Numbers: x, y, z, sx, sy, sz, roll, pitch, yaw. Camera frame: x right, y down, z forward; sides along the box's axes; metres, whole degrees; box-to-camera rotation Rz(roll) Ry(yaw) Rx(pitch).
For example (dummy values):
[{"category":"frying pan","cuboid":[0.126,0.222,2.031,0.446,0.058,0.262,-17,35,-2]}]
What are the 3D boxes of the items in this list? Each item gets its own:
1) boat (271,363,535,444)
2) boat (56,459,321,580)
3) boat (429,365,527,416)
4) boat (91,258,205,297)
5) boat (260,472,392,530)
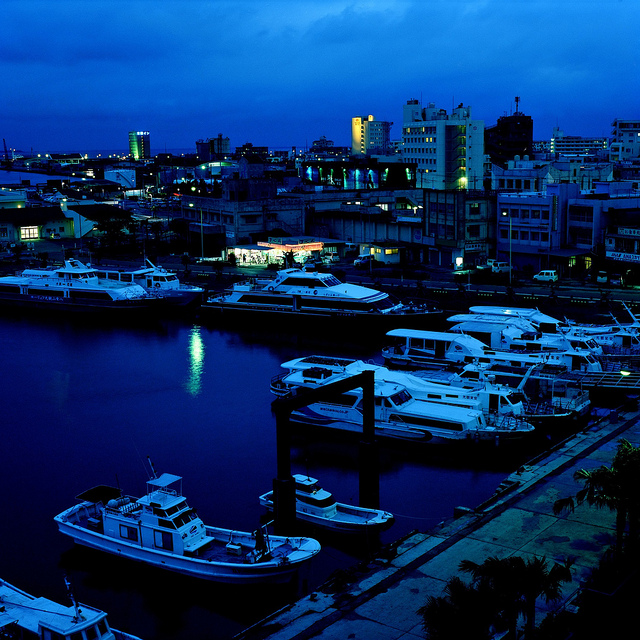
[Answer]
[{"category":"boat","cuboid":[3.480,4.136,43.119,9.950,2.981,4.087,2,6,25]},{"category":"boat","cuboid":[-4.630,7.102,33.358,9.170,2.173,2.216,3,13,30]},{"category":"boat","cuboid":[7.410,3.212,44.960,4.552,1.885,1.591,7,15,29]},{"category":"boat","cuboid":[-14.021,-3.481,80.886,13.466,3.464,2.672,7,19,30]},{"category":"boat","cuboid":[0.264,6.693,36.093,5.246,1.783,1.460,10,22,24]}]
